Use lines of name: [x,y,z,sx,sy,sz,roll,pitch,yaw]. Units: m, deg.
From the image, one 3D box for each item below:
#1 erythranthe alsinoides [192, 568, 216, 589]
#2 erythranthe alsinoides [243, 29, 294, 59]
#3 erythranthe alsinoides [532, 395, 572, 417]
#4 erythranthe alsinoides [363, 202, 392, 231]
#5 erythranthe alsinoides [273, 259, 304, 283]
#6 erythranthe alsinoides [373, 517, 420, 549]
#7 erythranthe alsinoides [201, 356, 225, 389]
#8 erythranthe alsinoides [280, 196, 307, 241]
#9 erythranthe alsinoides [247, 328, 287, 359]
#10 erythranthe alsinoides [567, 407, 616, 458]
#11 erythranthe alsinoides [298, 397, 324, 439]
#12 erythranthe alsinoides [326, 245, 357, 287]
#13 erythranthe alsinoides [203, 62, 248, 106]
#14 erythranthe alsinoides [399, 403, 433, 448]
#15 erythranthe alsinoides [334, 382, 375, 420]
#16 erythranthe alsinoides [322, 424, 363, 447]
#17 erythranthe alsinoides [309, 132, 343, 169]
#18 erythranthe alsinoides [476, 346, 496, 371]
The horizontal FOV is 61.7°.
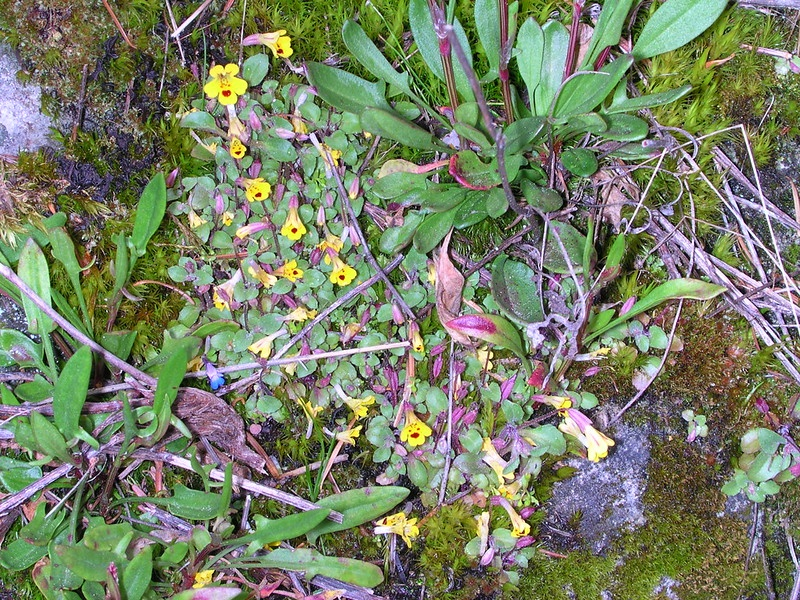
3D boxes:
erythranthe alsinoides: [-0.812,1.153,2.775,0.075,0.105,0.064,-2,69,4]
erythranthe alsinoides: [-0.571,-1.091,2.892,0.196,0.119,0.097,9,68,17]
erythranthe alsinoides: [0.656,0.432,2.873,0.083,0.082,0.141,-27,33,-34]
erythranthe alsinoides: [-0.092,-0.370,2.942,0.066,0.066,0.162,-42,74,-10]
erythranthe alsinoides: [-0.478,-0.119,2.893,0.120,0.104,0.078,-12,69,0]
erythranthe alsinoides: [-0.015,0.980,2.831,0.175,0.058,0.138,3,96,15]
erythranthe alsinoides: [-0.798,0.323,2.857,0.074,0.188,0.098,-28,70,-6]
erythranthe alsinoides: [-0.453,-0.337,2.777,0.136,0.145,0.182,0,102,11]
erythranthe alsinoides: [-0.584,0.189,2.917,0.162,0.055,0.096,-44,94,-6]
erythranthe alsinoides: [0.784,0.553,2.773,0.150,0.086,0.241,-39,73,10]
erythranthe alsinoides: [-0.390,0.524,2.959,0.109,0.170,0.093,-4,42,-27]
erythranthe alsinoides: [-0.255,-0.131,2.847,0.090,0.054,0.190,-14,95,8]
erythranthe alsinoides: [-0.720,-0.902,2.804,0.150,0.091,0.153,17,73,10]
erythranthe alsinoides: [0.047,0.558,2.872,0.122,0.137,0.152,-41,73,-10]
erythranthe alsinoides: [-0.193,0.448,2.940,0.184,0.071,0.120,47,54,-1]
erythranthe alsinoides: [-0.247,0.575,2.921,0.132,0.083,0.102,2,101,18]
erythranthe alsinoides: [-0.320,-0.639,2.865,0.045,0.113,0.167,-7,50,-38]
erythranthe alsinoides: [0.371,0.262,2.932,0.071,0.096,0.090,0,70,4]
